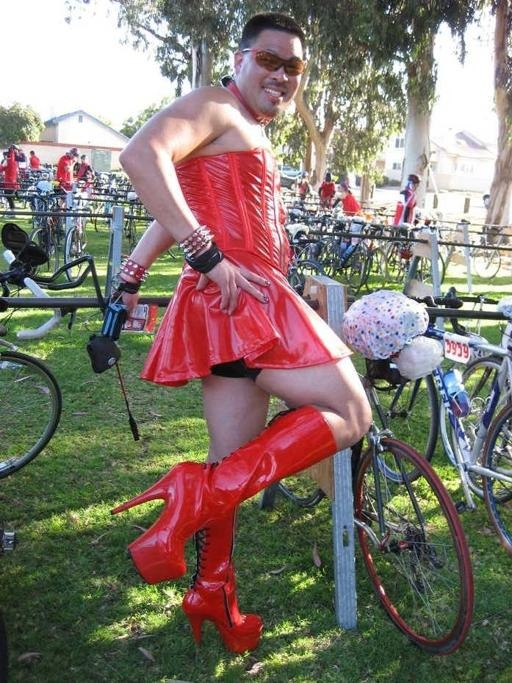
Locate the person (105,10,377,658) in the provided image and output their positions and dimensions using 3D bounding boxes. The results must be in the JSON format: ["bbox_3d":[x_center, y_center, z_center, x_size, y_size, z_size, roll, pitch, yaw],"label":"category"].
[{"bbox_3d":[-0.093,-0.023,1.299,0.710,1.535,0.603,4,8,23],"label":"person"}]

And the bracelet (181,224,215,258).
[{"bbox_3d":[-0.130,-0.204,1.114,0.028,0.069,0.065,52,20,6],"label":"bracelet"}]

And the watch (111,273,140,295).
[{"bbox_3d":[-0.381,-0.172,1.510,0.063,0.038,0.051,4,5,8],"label":"watch"}]

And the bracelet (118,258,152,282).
[{"bbox_3d":[-0.363,-0.206,1.499,0.071,0.053,0.071,5,19,0],"label":"bracelet"}]

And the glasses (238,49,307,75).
[{"bbox_3d":[0.043,-0.678,1.250,0.156,0.062,0.069,2,9,-6],"label":"glasses"}]

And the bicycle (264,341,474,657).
[{"bbox_3d":[0.398,0.489,2.230,0.350,0.896,1.646,-10,18,-16],"label":"bicycle"}]

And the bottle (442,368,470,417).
[{"bbox_3d":[0.911,0.226,2.331,0.065,0.205,0.112,-14,-27,6],"label":"bottle"}]

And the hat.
[{"bbox_3d":[0.442,-0.069,1.708,0.289,0.168,0.225,-32,40,-33],"label":"hat"}]

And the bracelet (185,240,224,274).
[{"bbox_3d":[-0.119,-0.186,1.118,0.060,0.041,0.070,-4,37,3],"label":"bracelet"}]
